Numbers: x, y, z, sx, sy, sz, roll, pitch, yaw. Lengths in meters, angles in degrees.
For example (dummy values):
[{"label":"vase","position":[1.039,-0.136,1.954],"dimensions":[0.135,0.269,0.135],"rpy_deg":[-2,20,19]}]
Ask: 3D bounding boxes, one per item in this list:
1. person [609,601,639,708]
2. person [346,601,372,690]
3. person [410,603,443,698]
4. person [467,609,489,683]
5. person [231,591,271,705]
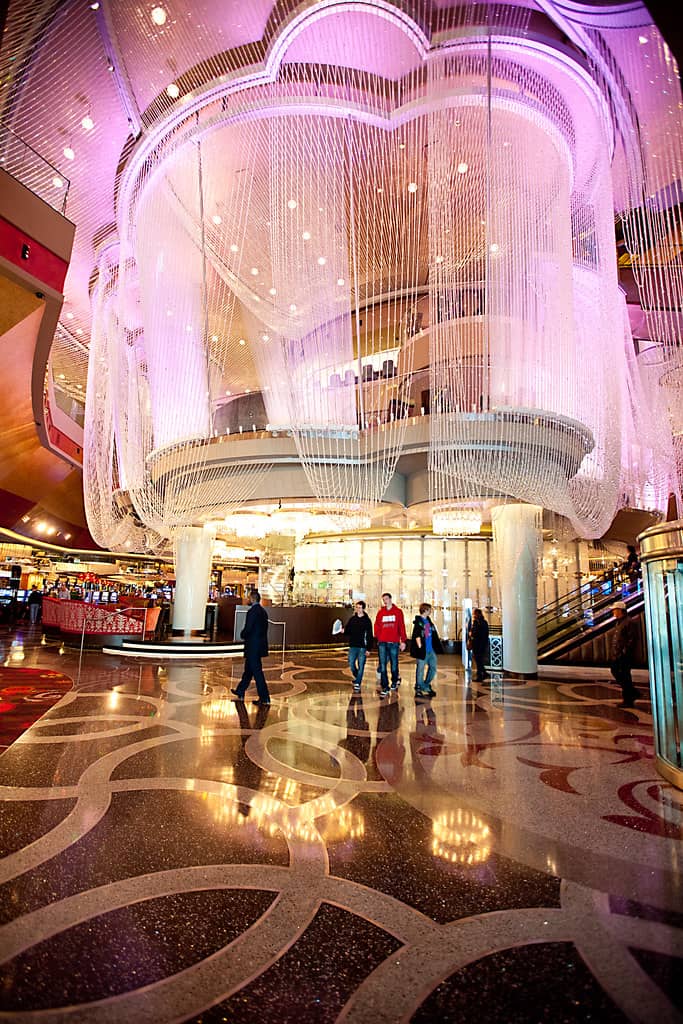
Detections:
[{"label":"person","position":[4.545,2.228,9.340],"dimensions":[0.324,1.477,1.618],"rpy_deg":[-2,-10,27]},{"label":"person","position":[0.225,2.068,9.084],"dimensions":[0.481,1.395,0.474],"rpy_deg":[0,7,-14]},{"label":"person","position":[1.307,2.147,9.186],"dimensions":[0.389,1.404,1.400],"rpy_deg":[0,-9,8]},{"label":"person","position":[2.879,2.687,12.092],"dimensions":[0.389,1.410,1.907],"rpy_deg":[0,-9,13]},{"label":"person","position":[-1.277,1.861,8.336],"dimensions":[0.483,1.519,1.541],"rpy_deg":[3,-9,-9]}]
